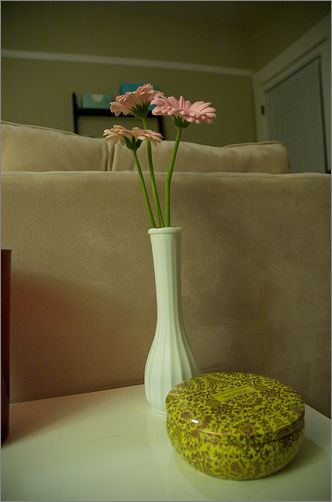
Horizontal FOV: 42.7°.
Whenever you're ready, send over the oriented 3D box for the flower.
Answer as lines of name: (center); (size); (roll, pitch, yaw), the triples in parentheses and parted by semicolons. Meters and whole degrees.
flower: (-0.019, -0.132, 0.622); (0.137, 0.195, 0.259); (-3, 4, -8)
